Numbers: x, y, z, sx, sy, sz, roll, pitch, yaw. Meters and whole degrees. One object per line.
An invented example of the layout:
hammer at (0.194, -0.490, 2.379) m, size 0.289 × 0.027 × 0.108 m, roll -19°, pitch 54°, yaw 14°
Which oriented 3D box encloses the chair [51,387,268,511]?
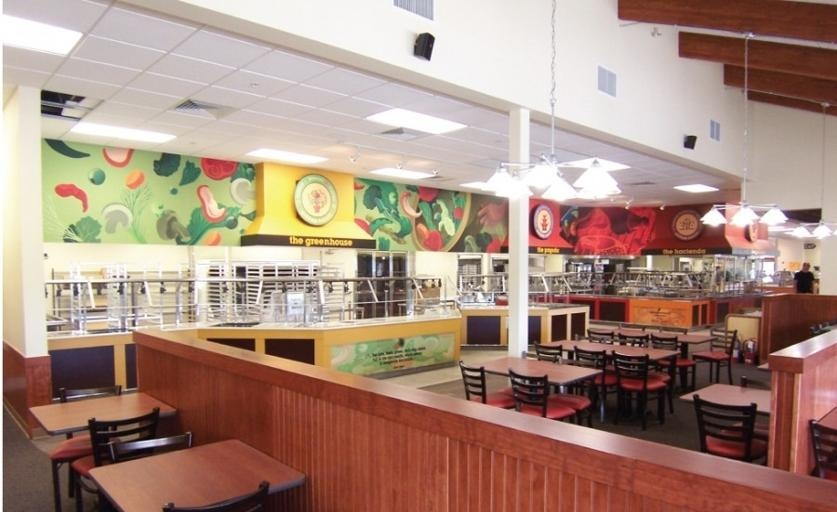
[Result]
chair at (-3.399, 2.247, 6.849) m, size 1.820 × 1.705 × 1.408 m, roll 0°, pitch 5°, yaw -41°

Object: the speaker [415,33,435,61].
speaker at (0.071, -2.911, 7.772) m, size 0.198 × 0.330 × 0.334 m, roll 17°, pitch 24°, yaw 30°
